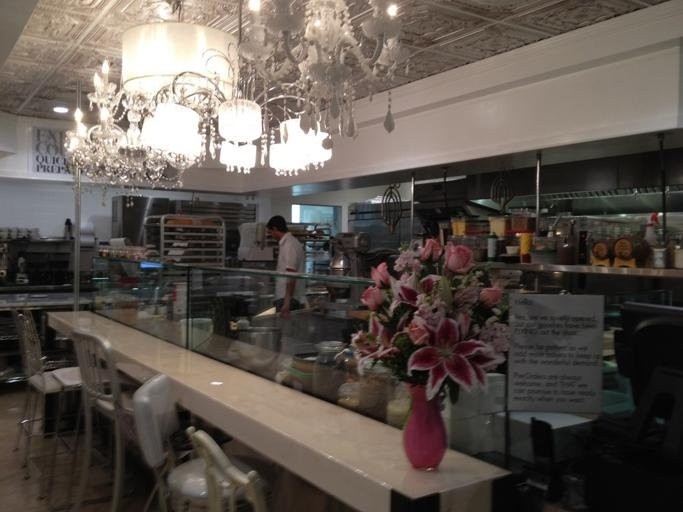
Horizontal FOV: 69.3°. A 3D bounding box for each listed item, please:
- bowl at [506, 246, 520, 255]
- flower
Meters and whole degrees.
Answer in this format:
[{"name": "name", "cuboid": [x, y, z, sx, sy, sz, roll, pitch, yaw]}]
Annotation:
[{"name": "bowl", "cuboid": [1.604, -0.045, 4.628, 0.079, 0.054, 0.084, 1, -7, 0]}, {"name": "flower", "cuboid": [0.268, 0.226, 1.663, 0.491, 0.474, 0.502, -2, -23, 7]}]
